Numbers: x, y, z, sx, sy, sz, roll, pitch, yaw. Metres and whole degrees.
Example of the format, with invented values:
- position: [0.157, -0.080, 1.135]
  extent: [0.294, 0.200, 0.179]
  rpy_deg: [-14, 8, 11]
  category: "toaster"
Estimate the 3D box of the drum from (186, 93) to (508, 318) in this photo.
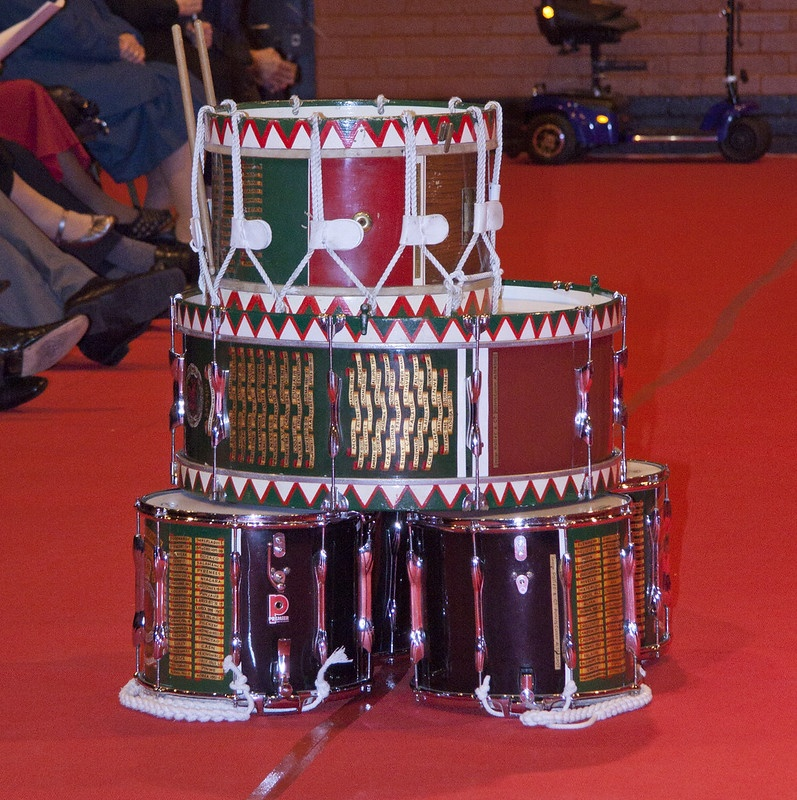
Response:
- position: [-0.102, -0.392, 3.978]
  extent: [0.618, 0.450, 0.638]
  rpy_deg: [-2, 12, 0]
  category: "drum"

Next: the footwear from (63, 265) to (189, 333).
- position: [-0.876, -0.318, 5.984]
  extent: [0.315, 0.131, 0.233]
  rpy_deg: [-20, 25, -17]
  category: "footwear"

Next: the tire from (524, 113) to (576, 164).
- position: [1.163, -2.059, 14.827]
  extent: [0.382, 0.445, 0.176]
  rpy_deg: [0, 33, 10]
  category: "tire"

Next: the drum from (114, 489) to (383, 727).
- position: [-0.298, 0.381, 3.682]
  extent: [0.393, 0.348, 0.417]
  rpy_deg: [1, 1, -1]
  category: "drum"

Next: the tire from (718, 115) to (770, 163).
- position: [2.623, -2.011, 14.568]
  extent: [0.255, 0.292, 0.155]
  rpy_deg: [-20, 10, 6]
  category: "tire"

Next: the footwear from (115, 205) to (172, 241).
- position: [-1.024, -0.703, 7.652]
  extent: [0.088, 0.127, 0.279]
  rpy_deg: [-4, -7, 24]
  category: "footwear"

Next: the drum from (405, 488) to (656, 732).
- position: [0.243, 0.397, 3.743]
  extent: [0.383, 0.337, 0.416]
  rpy_deg: [-3, 3, 12]
  category: "drum"

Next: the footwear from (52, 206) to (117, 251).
- position: [-1.090, -0.595, 6.571]
  extent: [0.228, 0.096, 0.075]
  rpy_deg: [10, -17, -7]
  category: "footwear"
